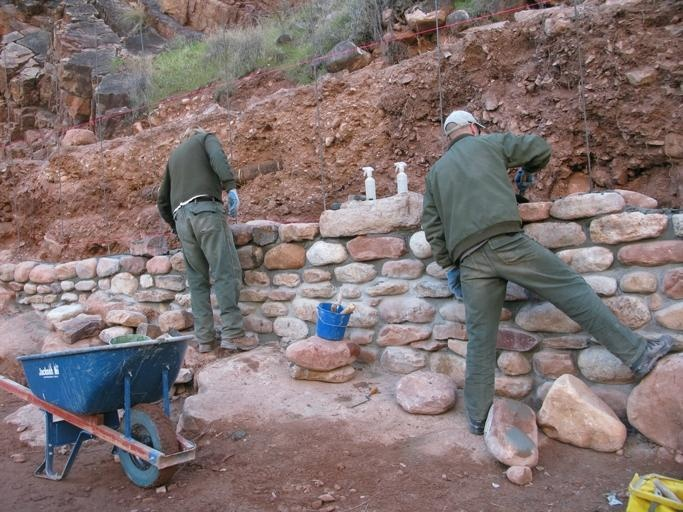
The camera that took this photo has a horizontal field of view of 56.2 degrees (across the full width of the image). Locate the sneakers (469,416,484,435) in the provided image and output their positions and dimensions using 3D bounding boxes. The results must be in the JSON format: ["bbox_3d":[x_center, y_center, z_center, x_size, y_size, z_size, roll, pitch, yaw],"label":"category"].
[{"bbox_3d":[1.097,1.376,5.228,0.124,0.117,0.123,2,2,9],"label":"sneakers"}]

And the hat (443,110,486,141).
[{"bbox_3d":[1.064,-1.157,5.540,0.352,0.197,0.244,-17,10,-32],"label":"hat"}]

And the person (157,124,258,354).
[{"bbox_3d":[-1.368,-0.129,6.438,0.749,2.095,1.098,-17,26,-14],"label":"person"}]

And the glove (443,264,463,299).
[{"bbox_3d":[0.988,0.220,5.539,0.127,0.090,0.340,5,55,5],"label":"glove"}]

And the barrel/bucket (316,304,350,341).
[{"bbox_3d":[-0.144,0.633,6.067,0.382,0.285,0.355,7,-16,2],"label":"barrel/bucket"}]
